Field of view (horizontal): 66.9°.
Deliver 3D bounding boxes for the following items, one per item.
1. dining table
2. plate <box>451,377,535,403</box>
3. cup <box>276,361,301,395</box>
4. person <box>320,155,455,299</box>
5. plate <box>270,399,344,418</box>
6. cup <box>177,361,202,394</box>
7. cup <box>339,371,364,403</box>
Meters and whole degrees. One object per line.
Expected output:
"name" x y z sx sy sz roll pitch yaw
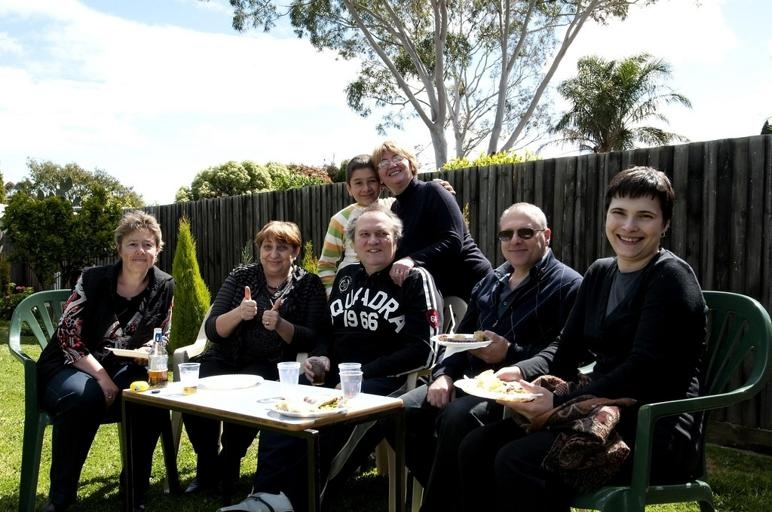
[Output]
"dining table" -0.844 1.263 3.912 1.876 0.836 0.797 -1 1 31
"plate" 0.683 0.835 3.619 0.496 0.111 0.251 -1 0 13
"cup" -0.648 0.834 4.045 0.172 0.187 0.170 0 1 0
"person" -0.098 -0.181 5.654 1.128 1.511 0.778 -1 7 10
"plate" -0.475 0.903 3.496 0.469 0.077 0.202 -1 0 7
"cup" -1.314 0.836 4.006 0.177 0.190 0.182 0 -7 0
"cup" -0.243 0.841 3.811 0.157 0.165 0.157 -1 5 0
